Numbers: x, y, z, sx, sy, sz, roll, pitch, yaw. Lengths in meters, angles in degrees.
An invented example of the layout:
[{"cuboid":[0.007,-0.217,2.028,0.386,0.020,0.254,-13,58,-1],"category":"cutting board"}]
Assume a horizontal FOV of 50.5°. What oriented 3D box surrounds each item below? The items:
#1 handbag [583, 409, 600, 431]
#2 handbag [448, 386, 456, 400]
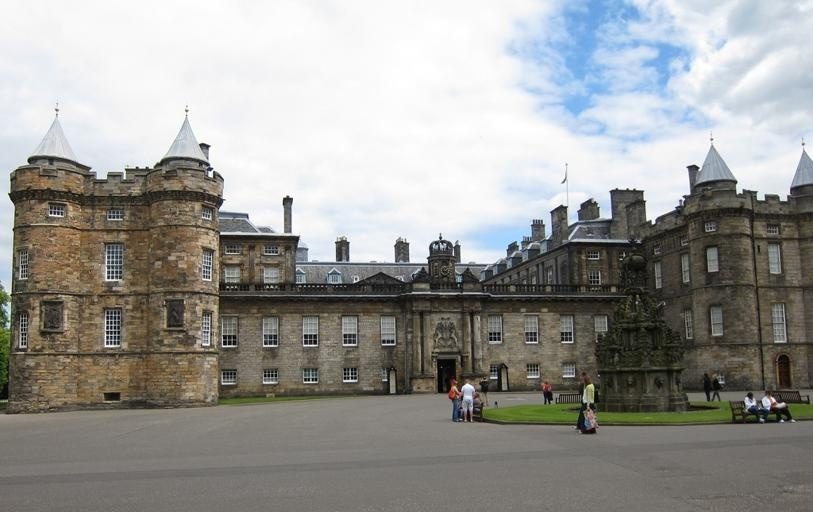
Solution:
[{"cuboid":[8.819,8.038,41.725,0.728,1.043,0.532,-4,-7,7],"category":"handbag"},{"cuboid":[2.567,7.664,47.887,0.414,0.739,0.919,-1,-11,4],"category":"handbag"}]
